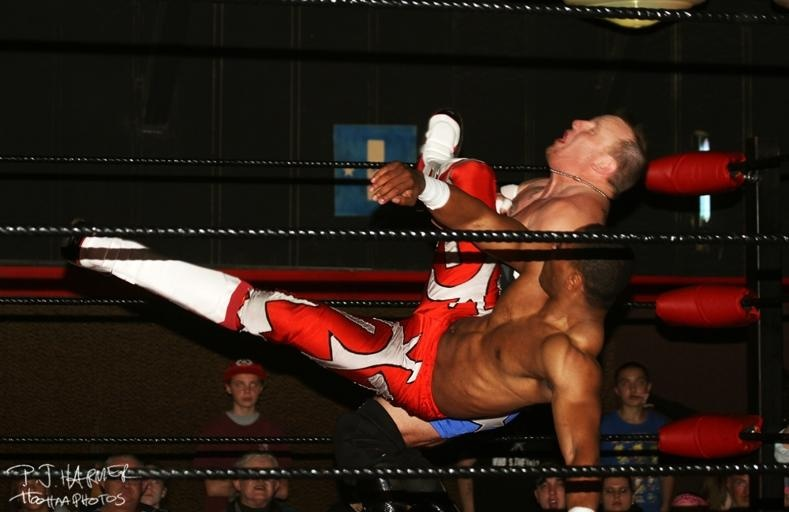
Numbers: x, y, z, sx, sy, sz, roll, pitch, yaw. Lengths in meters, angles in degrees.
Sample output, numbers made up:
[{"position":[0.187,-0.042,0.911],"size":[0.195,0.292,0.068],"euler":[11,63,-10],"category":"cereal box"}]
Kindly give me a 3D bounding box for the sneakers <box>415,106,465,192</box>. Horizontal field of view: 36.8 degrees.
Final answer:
[{"position":[0.256,-0.574,6.291],"size":[0.171,0.405,0.192],"euler":[13,-4,5],"category":"sneakers"}]
